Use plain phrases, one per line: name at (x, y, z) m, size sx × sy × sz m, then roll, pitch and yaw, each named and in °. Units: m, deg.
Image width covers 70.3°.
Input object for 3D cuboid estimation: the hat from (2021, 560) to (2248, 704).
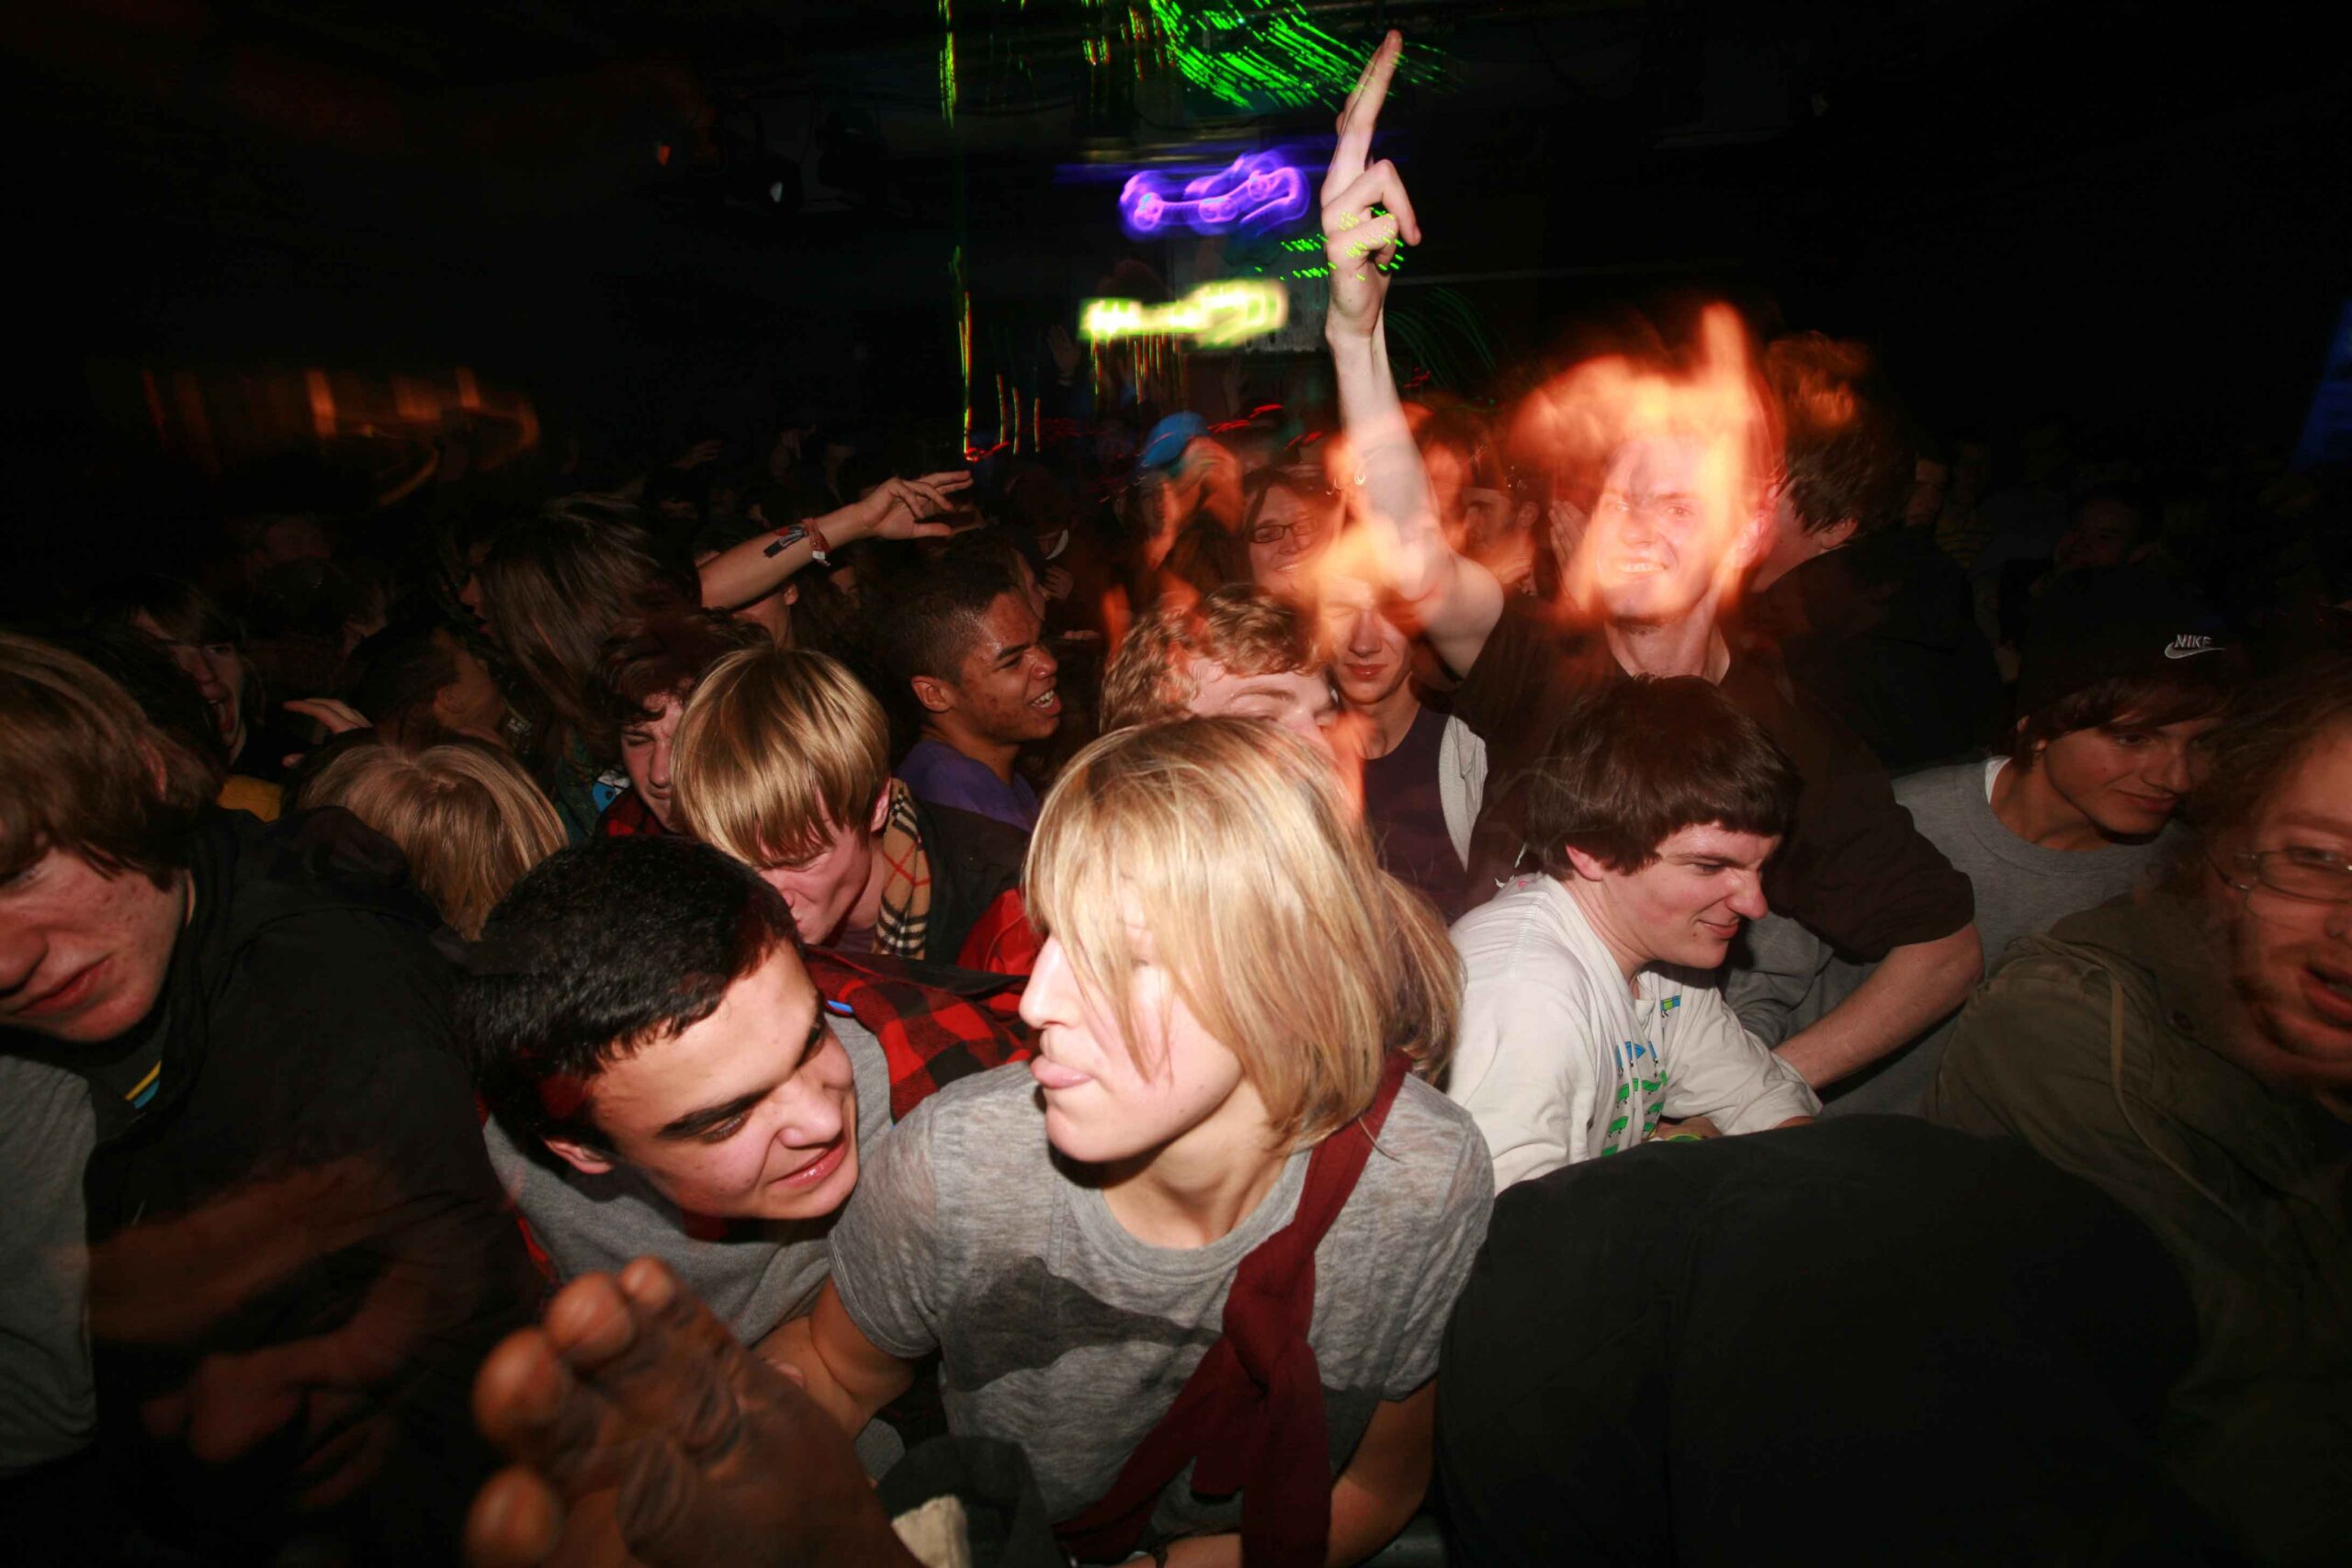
hat at (2.031, -0.297, 3.596) m, size 0.258 × 0.309 × 0.459 m, roll -19°, pitch 24°, yaw -41°
